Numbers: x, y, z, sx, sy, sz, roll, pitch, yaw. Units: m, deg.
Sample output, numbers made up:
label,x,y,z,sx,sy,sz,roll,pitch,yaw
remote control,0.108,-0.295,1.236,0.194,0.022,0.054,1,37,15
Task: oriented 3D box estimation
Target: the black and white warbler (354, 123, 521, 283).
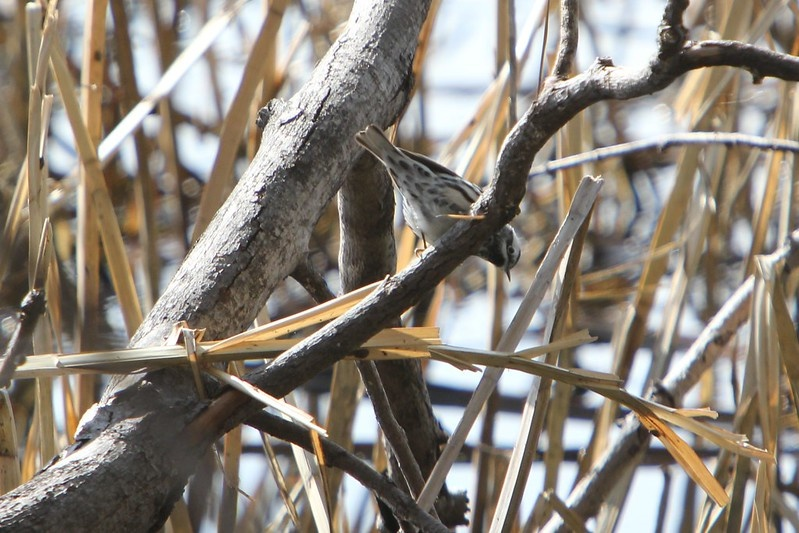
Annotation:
label,x,y,z,sx,sy,sz,roll,pitch,yaw
black and white warbler,0.115,-0.211,4.513,0.213,0.265,0.606,-36,-65,21
